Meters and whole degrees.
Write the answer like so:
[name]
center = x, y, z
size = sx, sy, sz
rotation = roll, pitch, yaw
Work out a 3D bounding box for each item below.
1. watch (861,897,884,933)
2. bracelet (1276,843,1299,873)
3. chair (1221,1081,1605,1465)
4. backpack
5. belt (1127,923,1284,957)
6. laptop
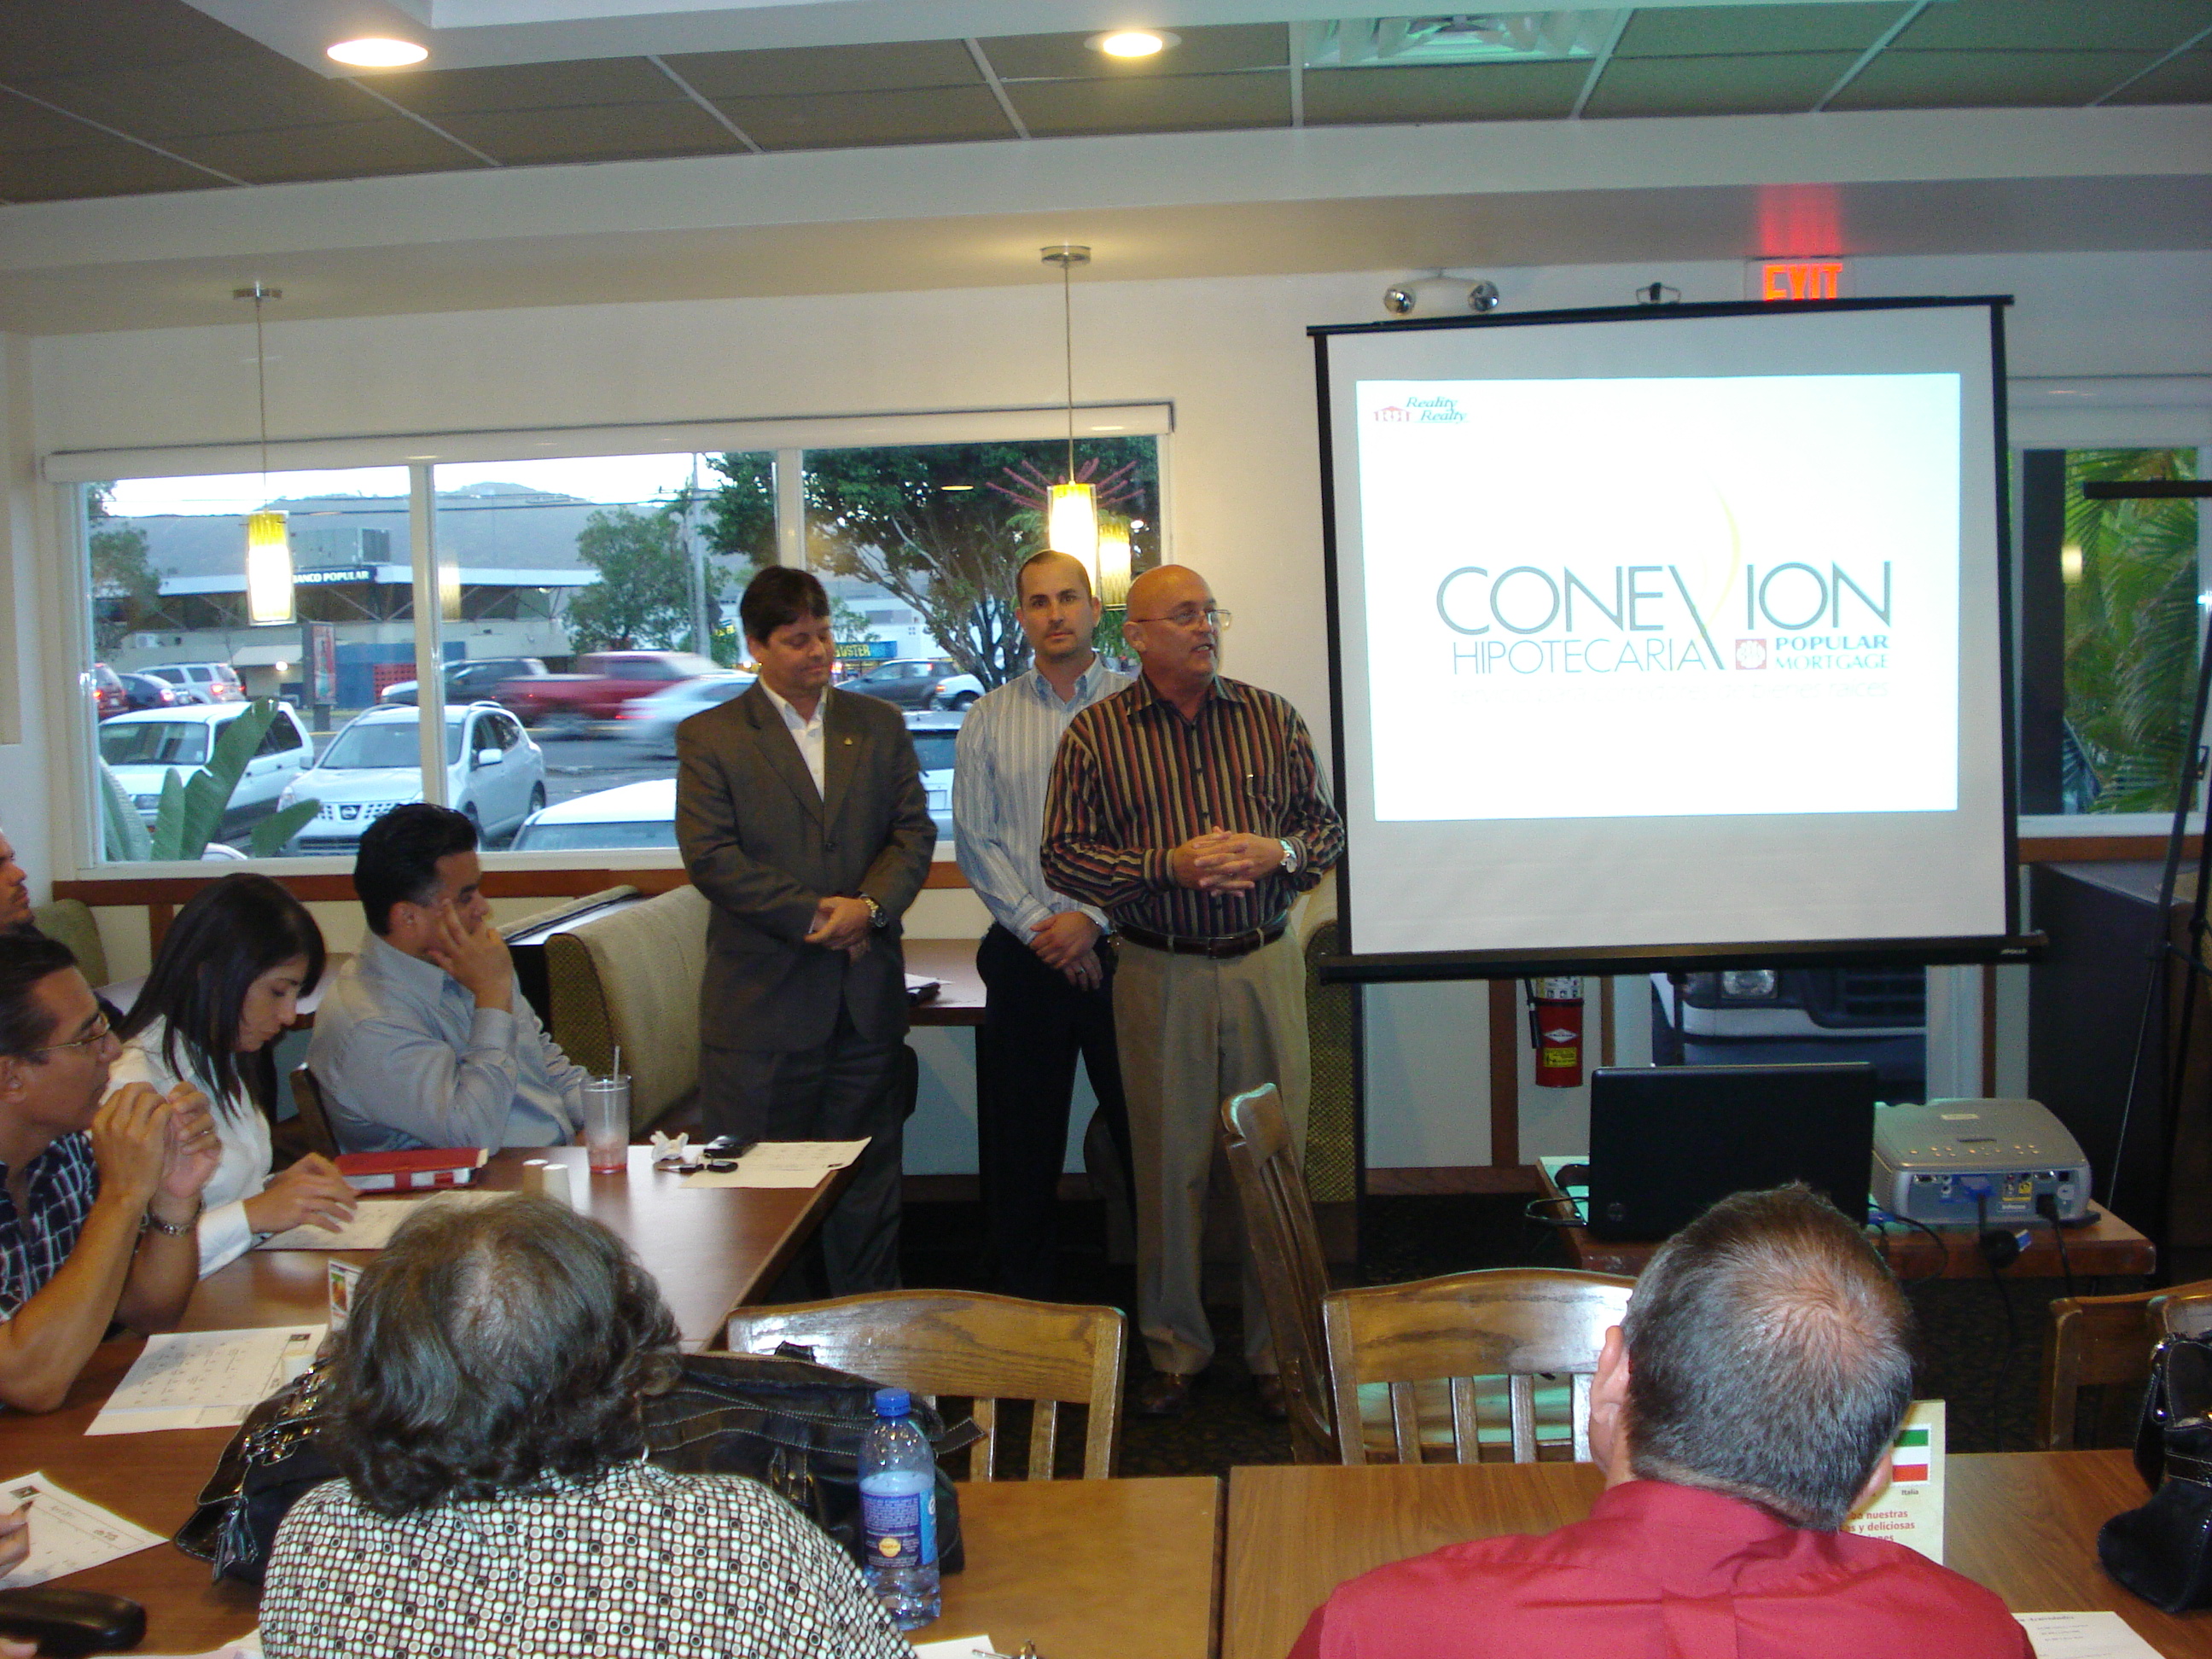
[watch]
center = -0.524, 0.196, 4.134
size = 0.051, 0.066, 0.060
rotation = -10, -28, 7
[bracelet]
center = 0.395, 0.062, 3.994
size = 0.043, 0.058, 0.057
rotation = 3, 0, 44
[chair]
center = 0.471, 0.724, 2.963
size = 0.626, 0.859, 0.521
rotation = -3, 2, 4
[backpack]
center = -0.622, 0.697, 2.092
size = 0.609, 0.149, 0.435
rotation = 2, 4, 5
[belt]
center = 0.211, 0.254, 4.057
size = 0.342, 0.057, 0.085
rotation = -2, 6, 3
[laptop]
center = 1.077, 0.479, 3.296
size = 0.473, 0.319, 0.329
rotation = 0, 3, -4
